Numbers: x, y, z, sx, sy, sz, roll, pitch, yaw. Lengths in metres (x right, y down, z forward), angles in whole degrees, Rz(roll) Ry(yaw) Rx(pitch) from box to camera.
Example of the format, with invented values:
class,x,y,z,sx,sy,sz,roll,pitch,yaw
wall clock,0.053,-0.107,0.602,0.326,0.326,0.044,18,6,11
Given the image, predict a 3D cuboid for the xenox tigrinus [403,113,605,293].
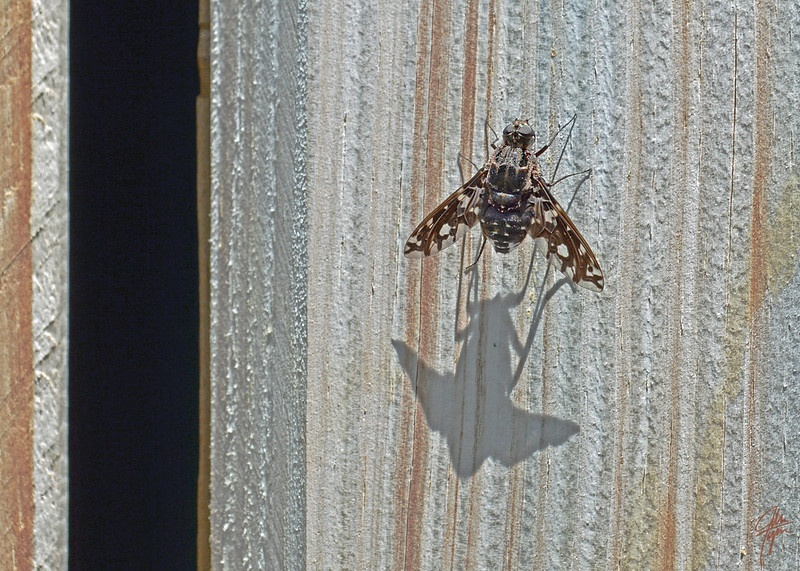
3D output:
class,x,y,z,sx,sy,sz,roll,pitch,yaw
xenox tigrinus,0.336,-0.226,6.998,0.519,0.170,0.566,11,99,13
